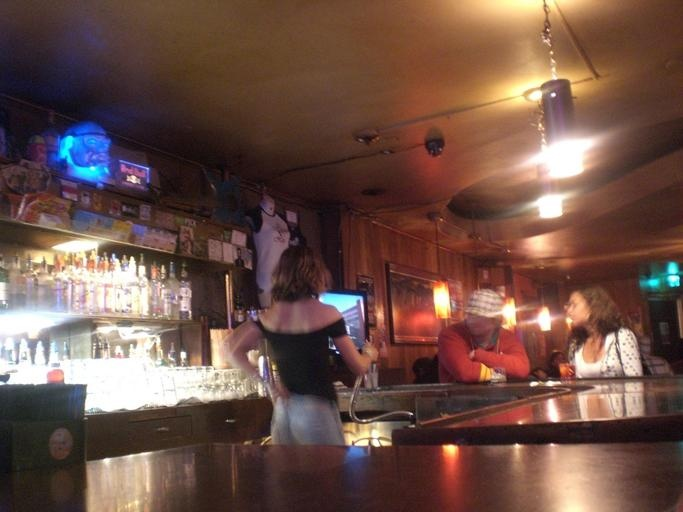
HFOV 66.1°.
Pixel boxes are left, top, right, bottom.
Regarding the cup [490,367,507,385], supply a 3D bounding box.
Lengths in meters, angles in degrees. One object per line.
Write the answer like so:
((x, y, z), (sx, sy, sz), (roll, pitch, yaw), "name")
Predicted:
((0.983, 0.757, 3.334), (0.101, 0.099, 0.103), (-1, -8, 0), "cup")

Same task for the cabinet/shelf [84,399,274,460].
((-1.021, 1.166, 3.537), (1.155, 0.254, 0.226), (7, -13, -41), "cabinet/shelf")

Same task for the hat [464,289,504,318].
((0.999, 0.322, 3.616), (0.176, 0.123, 0.223), (-1, -12, 36), "hat")

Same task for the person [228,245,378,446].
((-0.217, 0.409, 2.585), (0.712, 0.968, 0.422), (-1, -10, -4), "person")
